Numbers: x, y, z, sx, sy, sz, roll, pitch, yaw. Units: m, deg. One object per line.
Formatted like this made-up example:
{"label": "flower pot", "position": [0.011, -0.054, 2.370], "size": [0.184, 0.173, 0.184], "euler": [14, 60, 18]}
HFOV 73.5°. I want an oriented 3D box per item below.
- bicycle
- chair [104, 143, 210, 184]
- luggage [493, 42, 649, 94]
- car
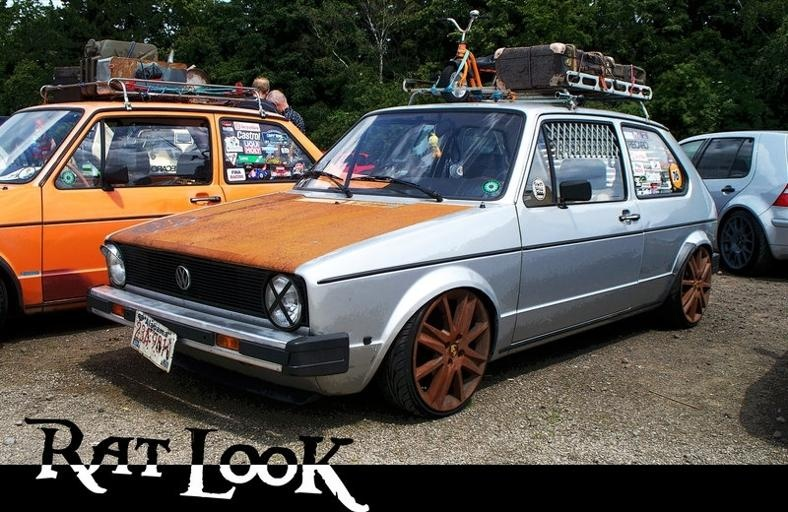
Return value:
{"label": "bicycle", "position": [0.961, -2.373, 6.314], "size": [0.496, 0.962, 1.467], "euler": [4, 18, 34]}
{"label": "chair", "position": [-2.541, -1.021, 5.788], "size": [0.790, 0.267, 0.429], "euler": [-7, 6, -29]}
{"label": "luggage", "position": [1.481, -1.884, 5.231], "size": [0.993, 0.290, 0.978], "euler": [-3, 11, -44]}
{"label": "car", "position": [0.532, -0.080, 4.682], "size": [4.577, 1.668, 2.760], "euler": [-3, 7, -40]}
